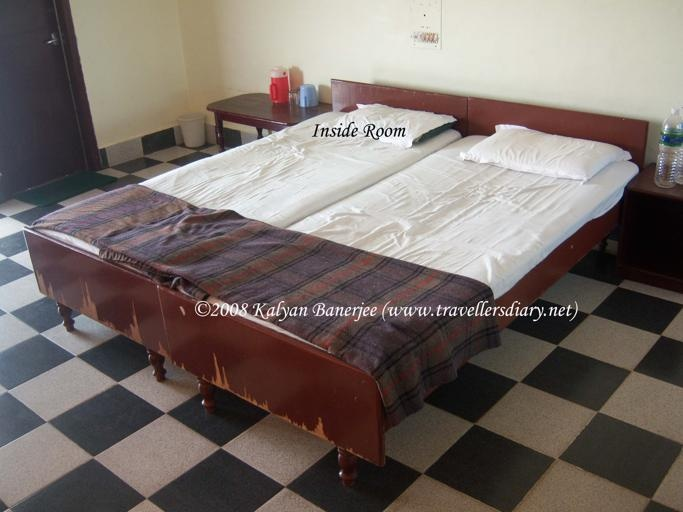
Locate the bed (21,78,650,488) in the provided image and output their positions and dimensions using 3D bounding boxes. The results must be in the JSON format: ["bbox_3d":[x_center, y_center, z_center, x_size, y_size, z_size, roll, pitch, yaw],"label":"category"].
[{"bbox_3d":[0.287,-0.208,2.842,2.385,0.871,2.632,22,45,29],"label":"bed"}]
